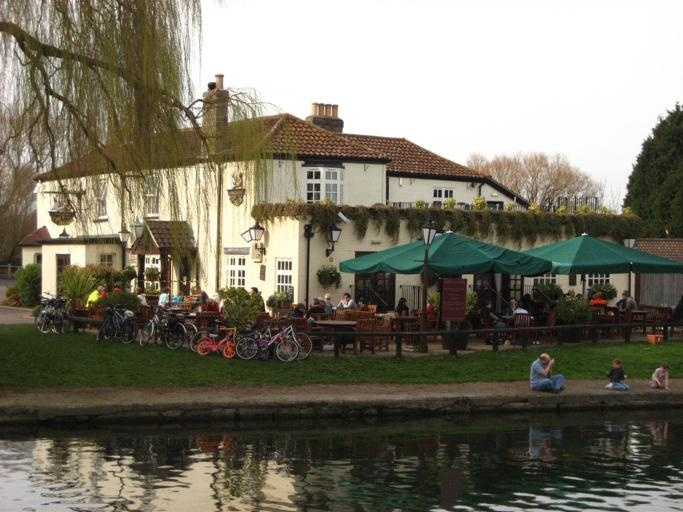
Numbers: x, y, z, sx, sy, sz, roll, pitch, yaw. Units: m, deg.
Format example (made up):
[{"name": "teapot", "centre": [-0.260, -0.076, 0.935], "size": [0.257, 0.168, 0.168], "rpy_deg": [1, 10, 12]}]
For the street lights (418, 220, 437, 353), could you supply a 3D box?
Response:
[{"name": "street lights", "centre": [2.279, 0.858, 42.008], "size": [0.530, 3.621, 0.551], "rpy_deg": [6, 6, 29]}]
